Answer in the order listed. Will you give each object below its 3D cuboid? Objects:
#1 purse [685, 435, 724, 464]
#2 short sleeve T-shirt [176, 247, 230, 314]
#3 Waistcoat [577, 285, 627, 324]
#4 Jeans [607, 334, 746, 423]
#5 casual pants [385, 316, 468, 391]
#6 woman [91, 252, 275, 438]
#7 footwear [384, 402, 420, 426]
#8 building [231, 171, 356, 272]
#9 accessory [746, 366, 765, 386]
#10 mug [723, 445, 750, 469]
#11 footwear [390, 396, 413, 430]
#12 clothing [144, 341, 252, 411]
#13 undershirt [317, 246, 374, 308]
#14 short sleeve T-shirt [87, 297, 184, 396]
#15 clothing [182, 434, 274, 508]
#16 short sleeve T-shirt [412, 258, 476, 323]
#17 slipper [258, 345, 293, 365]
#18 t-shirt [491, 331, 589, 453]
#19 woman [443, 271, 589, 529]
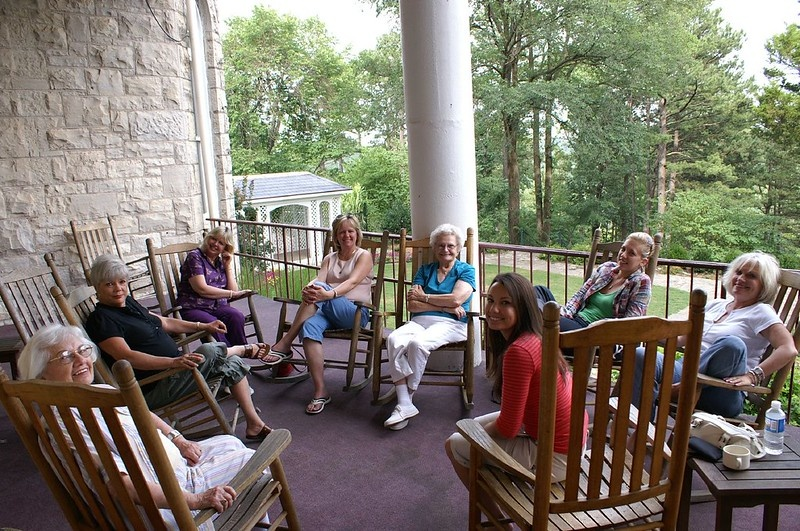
[{"bbox_3d":[1.598,0.972,2.678,0.154,0.047,0.155,20,35,23],"label":"purse"},{"bbox_3d":[-1.844,0.163,4.799,0.395,0.611,0.550,-8,-11,36],"label":"short sleeve T-shirt"},{"bbox_3d":[1.566,0.307,3.933,0.162,0.283,0.221,35,-15,-2],"label":"Waistcoat"},{"bbox_3d":[1.908,0.770,3.351,0.590,0.665,0.343,6,12,40],"label":"Jeans"},{"bbox_3d":[0.185,0.608,4.320,0.467,0.269,0.809,12,20,24],"label":"casual pants"},{"bbox_3d":[-1.574,0.644,3.816,1.291,1.388,0.669,-1,11,-3],"label":"woman"},{"bbox_3d":[0.040,1.169,3.987,0.121,0.128,0.307,-32,-15,35],"label":"footwear"},{"bbox_3d":[-4.159,-2.129,20.814,4.424,2.933,3.611,-10,10,6],"label":"building"},{"bbox_3d":[2.209,0.699,3.173,0.072,0.102,0.110,-12,38,19],"label":"accessory"},{"bbox_3d":[1.723,0.988,2.617,0.123,0.102,0.108,2,10,23],"label":"mug"},{"bbox_3d":[0.015,1.162,3.969,0.120,0.135,0.328,-26,-9,27],"label":"footwear"},{"bbox_3d":[-1.578,0.855,4.023,0.530,0.794,0.486,4,-9,-23],"label":"clothing"},{"bbox_3d":[-0.443,0.047,4.793,0.312,0.409,0.248,-4,21,26],"label":"undershirt"},{"bbox_3d":[-2.000,0.518,3.845,0.497,0.614,0.658,-12,14,-8],"label":"short sleeve T-shirt"},{"bbox_3d":[-0.911,1.033,2.601,0.296,0.355,0.276,-9,35,-25],"label":"clothing"},{"bbox_3d":[0.376,0.235,4.350,0.509,0.485,0.285,3,-8,28],"label":"short sleeve T-shirt"},{"bbox_3d":[-1.079,0.789,4.418,0.146,0.080,0.272,0,-2,16],"label":"slipper"},{"bbox_3d":[0.784,0.540,2.786,0.504,0.710,0.755,1,-6,21],"label":"t-shirt"},{"bbox_3d":[0.572,0.812,2.789,0.773,1.427,0.547,0,2,24],"label":"woman"}]
